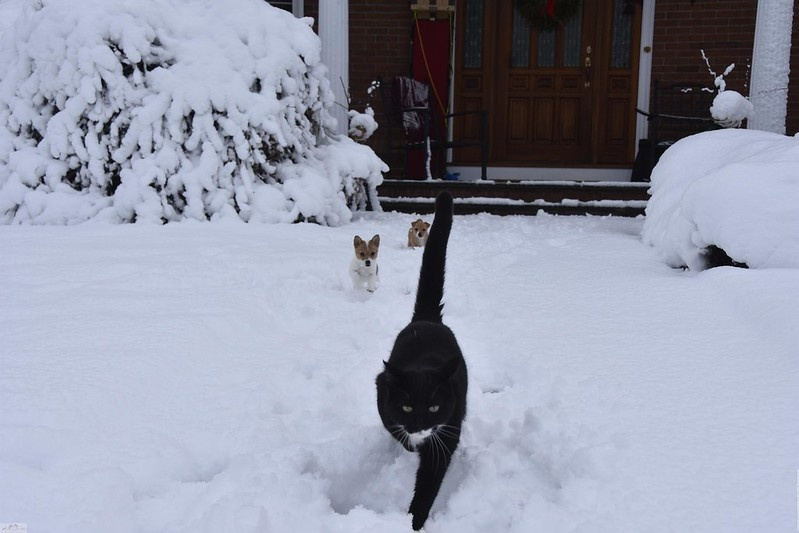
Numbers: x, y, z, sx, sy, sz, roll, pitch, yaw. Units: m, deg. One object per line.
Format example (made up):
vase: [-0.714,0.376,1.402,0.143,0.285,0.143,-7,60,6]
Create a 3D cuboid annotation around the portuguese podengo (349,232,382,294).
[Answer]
portuguese podengo: [-0.327,-0.081,8.168,0.238,0.590,0.848,0,12,-4]
